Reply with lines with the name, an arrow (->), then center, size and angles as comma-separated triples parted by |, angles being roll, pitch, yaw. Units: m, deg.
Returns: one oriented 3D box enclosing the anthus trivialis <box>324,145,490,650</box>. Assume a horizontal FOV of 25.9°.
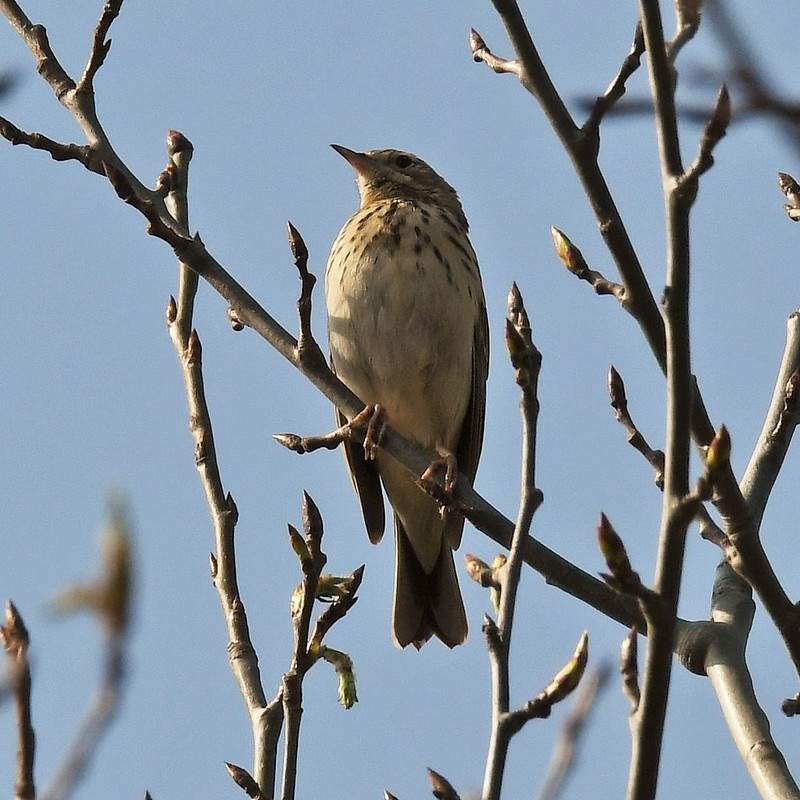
anthus trivialis -> 0.058, -0.125, 6.921 | 0.651, 1.241, 2.047 | 8, -77, 5
